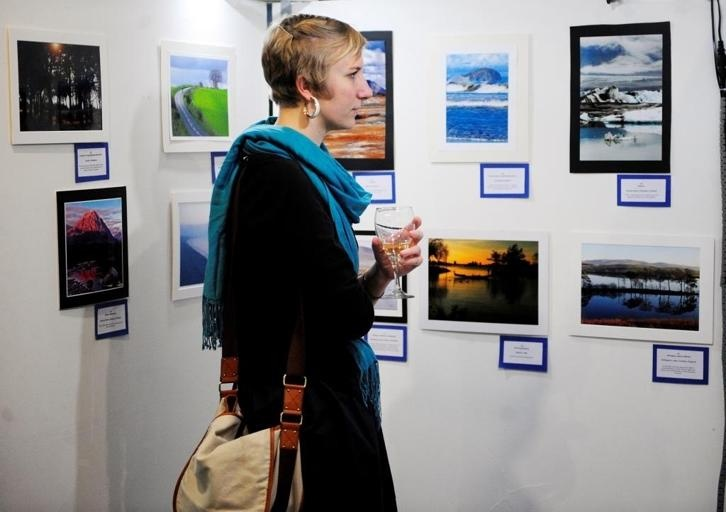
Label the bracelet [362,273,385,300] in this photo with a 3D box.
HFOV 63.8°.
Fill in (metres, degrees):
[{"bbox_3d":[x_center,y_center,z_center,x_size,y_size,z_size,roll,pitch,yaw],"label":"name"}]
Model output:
[{"bbox_3d":[0.037,0.104,1.988,0.071,0.083,0.083,-9,-21,-31],"label":"bracelet"}]
